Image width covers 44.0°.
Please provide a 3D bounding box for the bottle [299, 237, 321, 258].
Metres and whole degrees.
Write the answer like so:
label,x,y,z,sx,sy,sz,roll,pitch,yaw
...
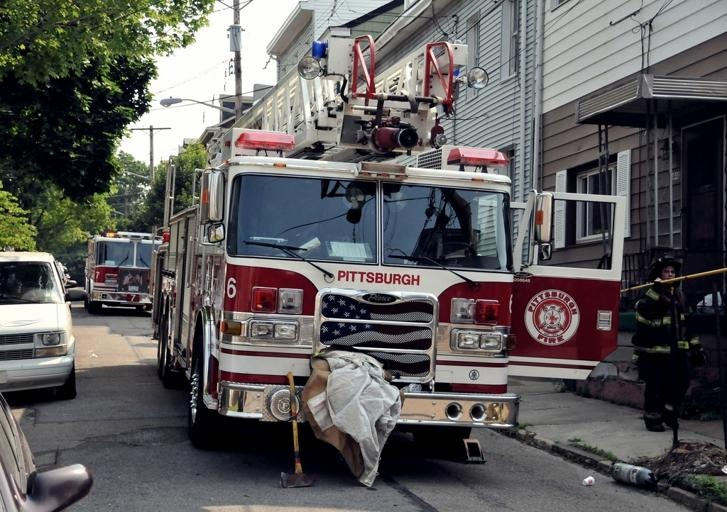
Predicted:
label,x,y,z,sx,sy,sz,roll,pitch,yaw
bottle,-0.638,-0.114,10.869,0.246,0.232,0.101,-2,7,-36
